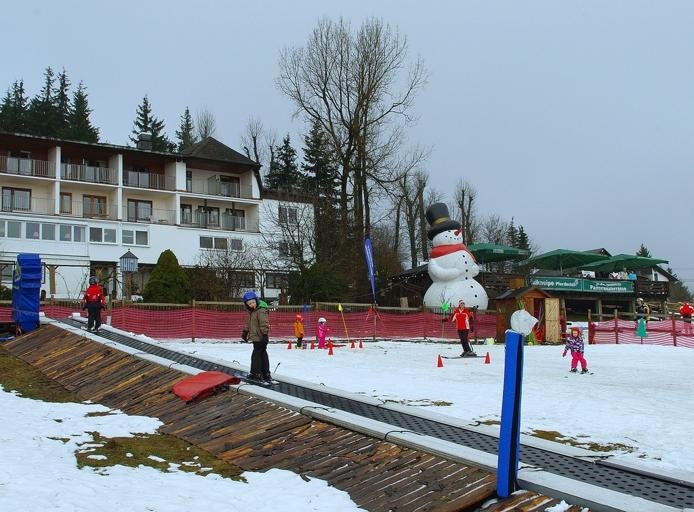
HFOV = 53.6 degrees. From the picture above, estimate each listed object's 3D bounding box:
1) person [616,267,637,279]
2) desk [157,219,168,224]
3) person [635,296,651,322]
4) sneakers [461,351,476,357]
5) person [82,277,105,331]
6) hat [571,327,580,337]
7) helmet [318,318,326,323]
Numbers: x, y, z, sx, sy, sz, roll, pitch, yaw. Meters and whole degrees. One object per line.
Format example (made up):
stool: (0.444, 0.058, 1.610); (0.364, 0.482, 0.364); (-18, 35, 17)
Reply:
person: (17.553, 1.110, 42.865); (1.069, 0.752, 1.090); (0, 1, 10)
desk: (-11.771, -2.322, 43.725); (0.623, 0.358, 2.048); (1, 1, -14)
person: (14.899, 2.627, 34.822); (0.378, 1.096, 1.077); (2, -4, -4)
sneakers: (3.468, 2.791, 19.662); (0.305, 0.132, 0.182); (12, -14, -39)
person: (-6.833, 1.203, 18.523); (0.489, 1.336, 2.589); (1, 1, -21)
hat: (5.468, 1.787, 16.491); (0.180, 0.238, 0.234); (-7, 12, 24)
helmet: (-0.870, 2.049, 22.244); (0.280, 0.231, 0.269); (-4, -6, 24)
